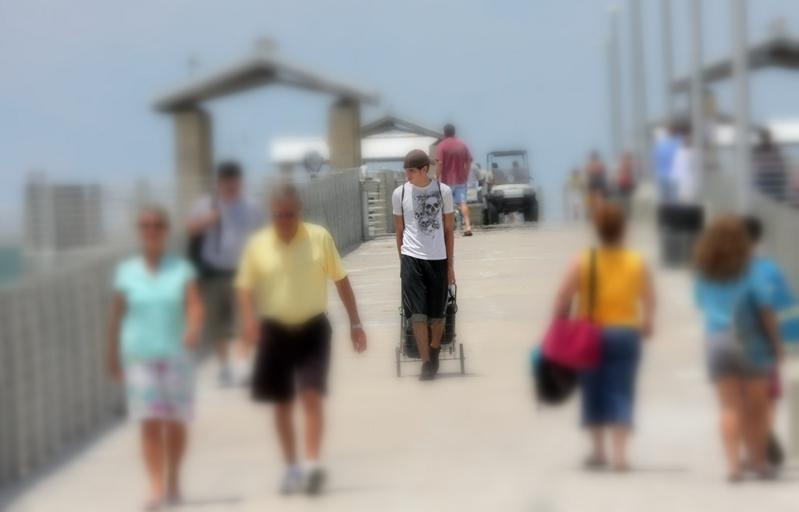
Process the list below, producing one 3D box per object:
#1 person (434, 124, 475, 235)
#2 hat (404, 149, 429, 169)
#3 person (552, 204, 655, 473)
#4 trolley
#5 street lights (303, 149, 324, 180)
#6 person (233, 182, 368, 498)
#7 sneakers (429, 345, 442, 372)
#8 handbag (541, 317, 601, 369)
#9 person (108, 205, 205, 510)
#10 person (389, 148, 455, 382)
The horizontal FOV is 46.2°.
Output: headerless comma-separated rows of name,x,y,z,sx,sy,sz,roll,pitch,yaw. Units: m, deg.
person,0.956,-1.355,16.405,0.617,2.052,0.615,-8,27,-7
hat,0.169,-0.980,9.502,0.211,0.185,0.163,-20,31,-20
person,1.582,0.660,7.244,0.711,2.143,0.334,1,8,10
trolley,0.399,0.705,10.244,0.612,0.951,0.887,-2,3,-16
street lights,-0.656,-0.703,7.190,0.131,0.128,0.163,2,-14,-1
person,-0.814,0.646,7.030,0.762,2.346,0.298,1,8,7
sneakers,0.362,1.076,9.784,0.078,0.278,0.101,0,7,11
handbag,1.312,0.668,7.187,0.364,0.414,0.375,7,-3,19
person,-1.759,0.813,6.812,0.672,2.333,0.435,-1,8,-10
person,0.257,0.112,9.583,0.607,2.321,0.318,-1,8,-5
